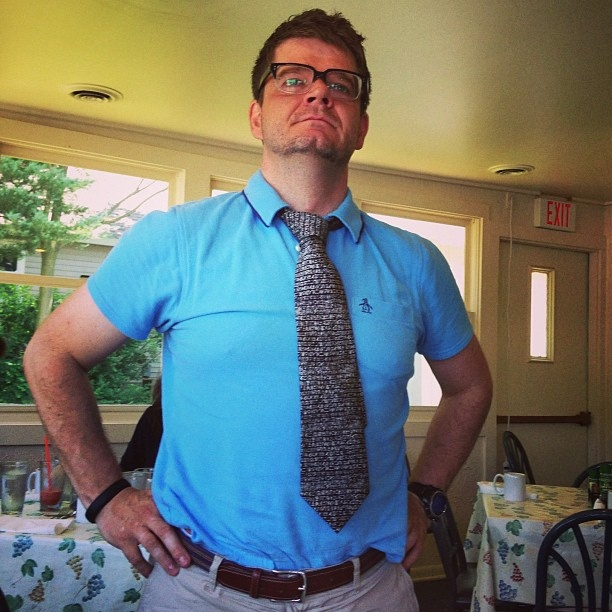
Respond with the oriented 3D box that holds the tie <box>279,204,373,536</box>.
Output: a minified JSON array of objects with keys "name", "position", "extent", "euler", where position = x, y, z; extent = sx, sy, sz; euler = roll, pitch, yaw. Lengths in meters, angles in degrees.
[{"name":"tie","position":[0.030,0.101,1.218],"extent":[0.122,0.594,0.152],"euler":[0,-2,-15]}]
